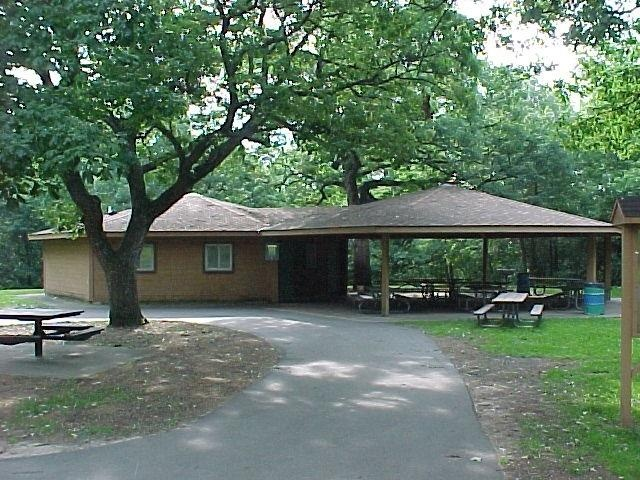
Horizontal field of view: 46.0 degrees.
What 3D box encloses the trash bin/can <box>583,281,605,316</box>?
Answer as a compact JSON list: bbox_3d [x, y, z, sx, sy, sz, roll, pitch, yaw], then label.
[{"bbox_3d":[8.793,1.888,24.140,0.615,1.014,0.634,-3,-2,15],"label":"trash bin/can"}]
